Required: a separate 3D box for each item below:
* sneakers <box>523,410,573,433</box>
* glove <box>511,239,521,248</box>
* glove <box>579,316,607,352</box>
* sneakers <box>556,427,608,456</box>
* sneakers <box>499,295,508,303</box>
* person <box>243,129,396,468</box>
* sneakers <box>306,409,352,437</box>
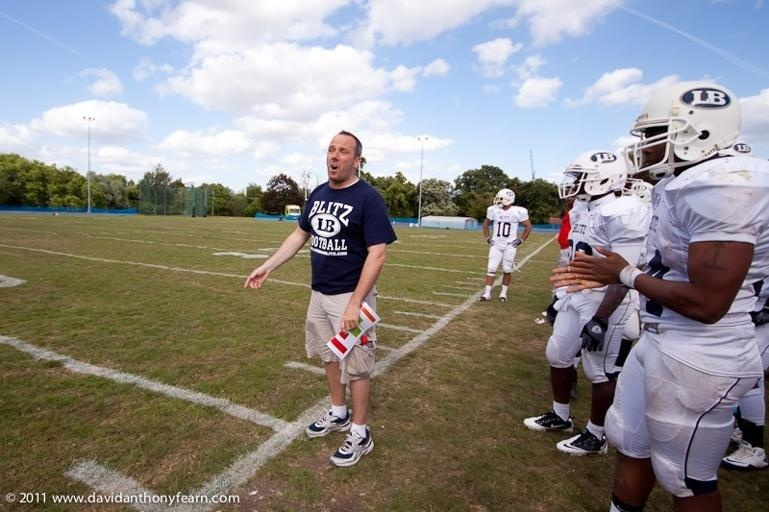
[{"bbox_3d":[1.492,1.520,4.016,0.505,0.194,0.173,3,-8,9],"label":"sneakers"},{"bbox_3d":[2.744,-0.256,9.009,0.138,0.109,0.429,-23,-6,26],"label":"glove"},{"bbox_3d":[1.617,0.607,3.318,0.078,0.240,0.241,2,44,39],"label":"glove"},{"bbox_3d":[1.686,1.613,3.767,0.517,0.212,0.177,1,-10,2],"label":"sneakers"},{"bbox_3d":[2.276,0.835,8.299,0.272,0.095,0.192,5,-14,12],"label":"sneakers"},{"bbox_3d":[-0.419,0.273,3.698,1.105,2.644,0.651,13,14,43],"label":"person"},{"bbox_3d":[-0.486,1.479,3.860,0.419,0.185,0.155,0,-1,-21],"label":"sneakers"}]
